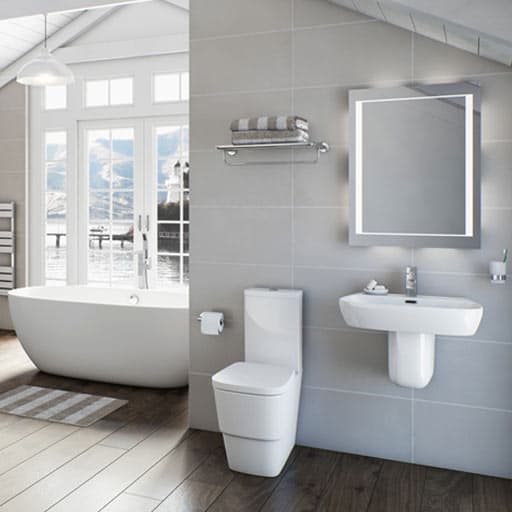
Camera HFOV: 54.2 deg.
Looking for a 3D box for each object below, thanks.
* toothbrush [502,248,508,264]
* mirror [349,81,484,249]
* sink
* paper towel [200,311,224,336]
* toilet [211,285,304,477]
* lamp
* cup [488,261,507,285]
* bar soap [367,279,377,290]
[{"bbox_3d":[1.224,0.003,2.451,0.023,0.068,0.077,3,7,27],"label":"toothbrush"},{"bbox_3d":[0.862,-0.489,2.595,0.774,1.119,0.048,0,1,23],"label":"mirror"},{"bbox_3d":[0.742,0.295,2.432,0.636,0.173,0.381,3,7,19],"label":"sink"},{"bbox_3d":[-0.241,0.372,2.929,0.152,0.153,0.115,2,3,22],"label":"paper towel"},{"bbox_3d":[0.029,0.650,2.651,0.369,0.878,0.574,2,6,15],"label":"toilet"},{"bbox_3d":[-1.432,-1.310,3.382,0.341,0.287,0.280,4,7,27],"label":"lamp"},{"bbox_3d":[1.194,0.086,2.461,0.082,0.116,0.095,4,7,26],"label":"cup"},{"bbox_3d":[0.621,0.150,2.627,0.033,0.034,0.062,2,9,9],"label":"bar soap"}]
